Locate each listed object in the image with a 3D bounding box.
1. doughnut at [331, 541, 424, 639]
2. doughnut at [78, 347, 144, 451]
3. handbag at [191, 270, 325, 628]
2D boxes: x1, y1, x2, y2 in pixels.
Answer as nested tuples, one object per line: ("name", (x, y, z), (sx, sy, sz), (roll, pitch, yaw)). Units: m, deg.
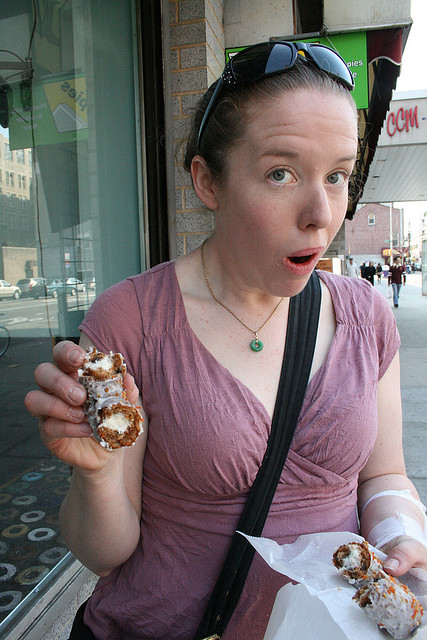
("doughnut", (0.336, 0.520, 1.047), (0.146, 0.076, 0.224), (-3, 10, -5))
("doughnut", (-0.220, 0.156, 1.116), (0.118, 0.083, 0.201), (-1, 36, -18))
("handbag", (0.124, 0.302, 1.446), (0.332, 0.833, 0.340), (4, 2, -24))
